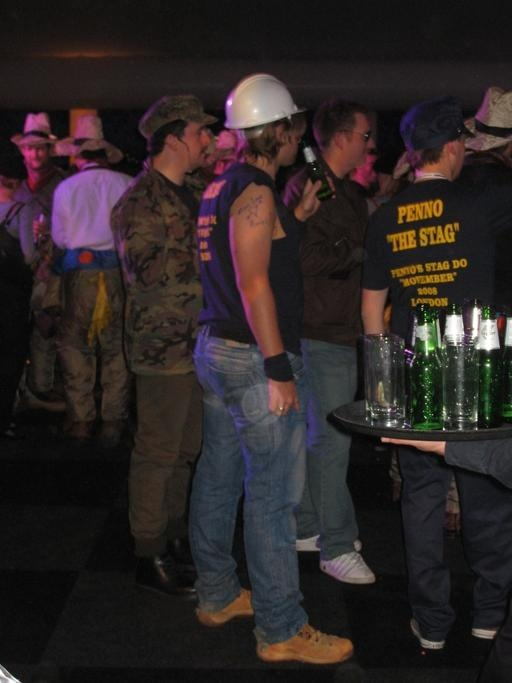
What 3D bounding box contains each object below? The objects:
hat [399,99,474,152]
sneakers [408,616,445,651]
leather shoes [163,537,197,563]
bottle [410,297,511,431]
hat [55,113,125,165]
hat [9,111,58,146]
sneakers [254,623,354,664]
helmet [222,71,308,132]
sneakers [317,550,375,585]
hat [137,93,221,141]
[{"bbox_3d":[0.577,-0.675,2.207,0.161,0.102,0.213,6,32,44],"label":"hat"},{"bbox_3d":[0.549,0.949,2.264,0.052,0.043,0.118,-1,5,-16],"label":"sneakers"},{"bbox_3d":[-0.284,0.800,2.689,0.146,0.101,0.054,-1,10,13],"label":"leather shoes"},{"bbox_3d":[0.466,0.054,1.638,0.215,0.278,0.354,1,11,11],"label":"bottle"},{"bbox_3d":[-1.077,-1.290,4.441,0.387,0.182,0.435,3,2,-5],"label":"hat"},{"bbox_3d":[-1.500,-1.416,4.817,0.321,0.140,0.281,-1,3,-30],"label":"hat"},{"bbox_3d":[0.163,0.939,2.211,0.360,0.112,0.107,-1,1,-2],"label":"sneakers"},{"bbox_3d":[0.047,-0.721,2.165,0.198,0.116,0.247,10,32,45],"label":"helmet"},{"bbox_3d":[0.345,0.862,2.692,0.190,0.061,0.098,3,10,34],"label":"sneakers"},{"bbox_3d":[-0.321,-0.871,2.663,0.295,0.117,0.163,-17,9,6],"label":"hat"}]
